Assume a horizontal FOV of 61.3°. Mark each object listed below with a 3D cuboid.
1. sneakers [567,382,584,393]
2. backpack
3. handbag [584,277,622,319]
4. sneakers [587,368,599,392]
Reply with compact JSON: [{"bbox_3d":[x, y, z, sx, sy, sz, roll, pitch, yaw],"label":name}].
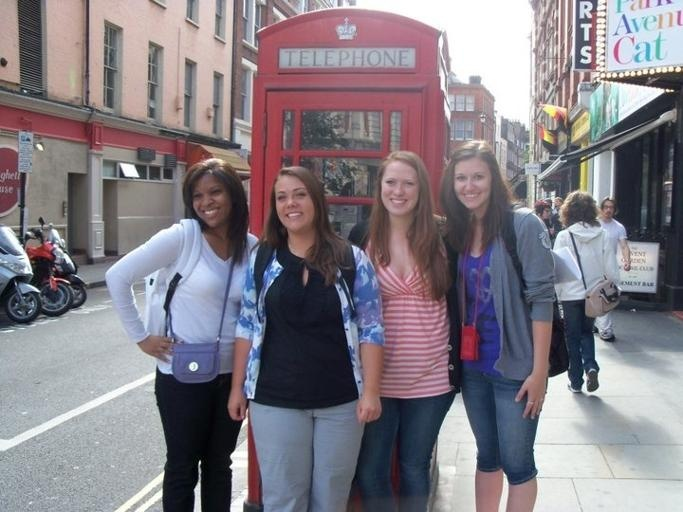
[{"bbox_3d":[2.614,1.443,6.409,0.156,0.114,0.304,2,7,24],"label":"sneakers"},{"bbox_3d":[1.131,0.216,3.335,0.405,0.986,0.252,0,5,3],"label":"backpack"},{"bbox_3d":[2.857,0.448,6.246,0.416,0.326,0.222,-19,7,-23],"label":"handbag"},{"bbox_3d":[2.698,1.306,6.146,0.107,0.309,0.133,-1,7,1],"label":"sneakers"}]
